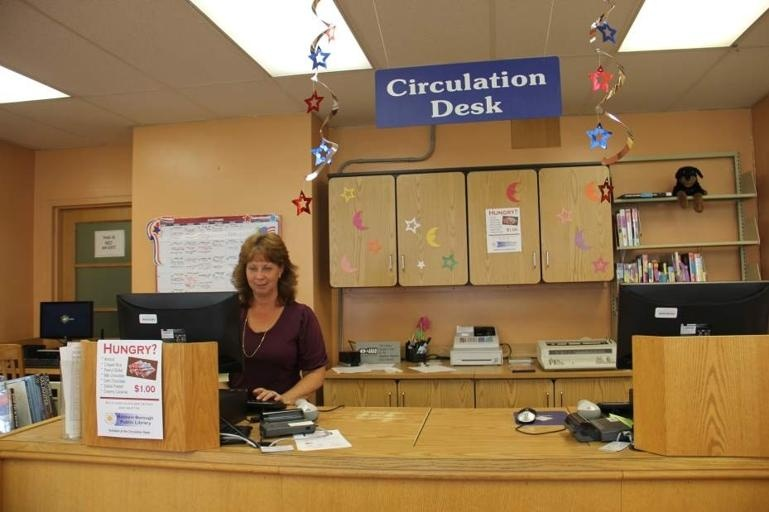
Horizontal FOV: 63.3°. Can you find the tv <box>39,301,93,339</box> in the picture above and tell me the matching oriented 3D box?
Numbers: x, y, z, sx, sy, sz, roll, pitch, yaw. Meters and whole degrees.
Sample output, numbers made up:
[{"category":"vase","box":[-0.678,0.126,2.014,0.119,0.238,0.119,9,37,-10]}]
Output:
[{"category":"tv","box":[-2.934,0.596,5.774,0.555,0.364,0.051,-1,-3,8]}]

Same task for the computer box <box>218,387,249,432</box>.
[{"category":"computer box","box":[-0.833,0.836,3.448,0.163,0.135,0.291,0,-2,7]}]

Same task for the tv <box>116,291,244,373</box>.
[{"category":"tv","box":[-1.087,0.403,3.293,0.474,0.307,0.135,0,2,0]}]

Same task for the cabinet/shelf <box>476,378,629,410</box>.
[{"category":"cabinet/shelf","box":[1.342,1.069,4.954,1.220,0.224,0.199,-2,-5,7]}]

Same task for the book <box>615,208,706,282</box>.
[{"category":"book","box":[2.333,-0.106,5.289,0.670,0.645,0.418,-4,-5,26]}]

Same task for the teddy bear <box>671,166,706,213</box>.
[{"category":"teddy bear","box":[2.665,-0.584,5.468,0.276,0.387,0.527,2,7,20]}]

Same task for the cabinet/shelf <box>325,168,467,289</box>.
[{"category":"cabinet/shelf","box":[0.138,-0.228,5.328,1.093,0.805,0.404,1,1,1]}]

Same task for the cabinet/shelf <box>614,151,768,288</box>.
[{"category":"cabinet/shelf","box":[2.630,-0.273,5.233,1.271,1.283,0.395,0,-2,2]}]

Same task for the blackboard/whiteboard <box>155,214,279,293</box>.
[{"category":"blackboard/whiteboard","box":[-1.338,-0.008,5.070,0.738,0.444,0.033,-1,-3,6]}]

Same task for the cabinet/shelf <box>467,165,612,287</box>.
[{"category":"cabinet/shelf","box":[1.506,-0.248,5.403,0.458,0.950,1.036,1,-3,-33]}]
